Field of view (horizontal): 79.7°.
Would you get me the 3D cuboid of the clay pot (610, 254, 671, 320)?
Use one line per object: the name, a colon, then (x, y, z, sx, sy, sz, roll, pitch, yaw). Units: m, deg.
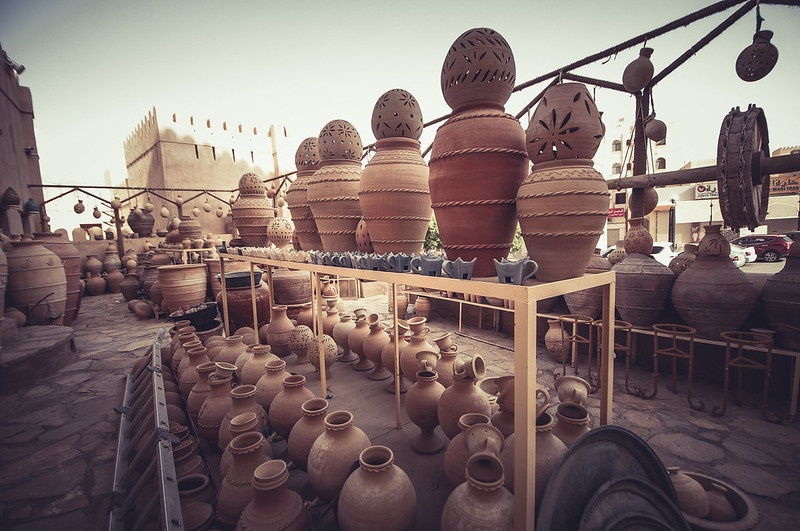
clay pot: (3.573, 0.351, 7.250, 0.948, 1.150, 0.992, 2, 0, 0)

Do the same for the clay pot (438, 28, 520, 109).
clay pot: (0.812, -2.022, 5.116, 0.740, 0.929, 0.778, -1, 0, 0)

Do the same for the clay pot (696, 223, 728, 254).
clay pot: (4.240, -0.358, 6.530, 0.362, 0.415, 0.371, -1, 3, 0)

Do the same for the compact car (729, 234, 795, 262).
compact car: (10.160, -0.483, 13.498, 0.665, 0.561, 1.369, -10, 15, -28)

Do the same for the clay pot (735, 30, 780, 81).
clay pot: (4.968, -2.960, 6.710, 0.444, 0.732, 0.576, 2, 6, 37)

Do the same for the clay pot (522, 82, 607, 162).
clay pot: (1.648, -1.314, 4.868, 0.892, 0.899, 0.932, 1, -2, 0)

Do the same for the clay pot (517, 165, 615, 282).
clay pot: (1.520, -0.400, 4.964, 0.954, 1.226, 1.018, -1, -3, 0)
